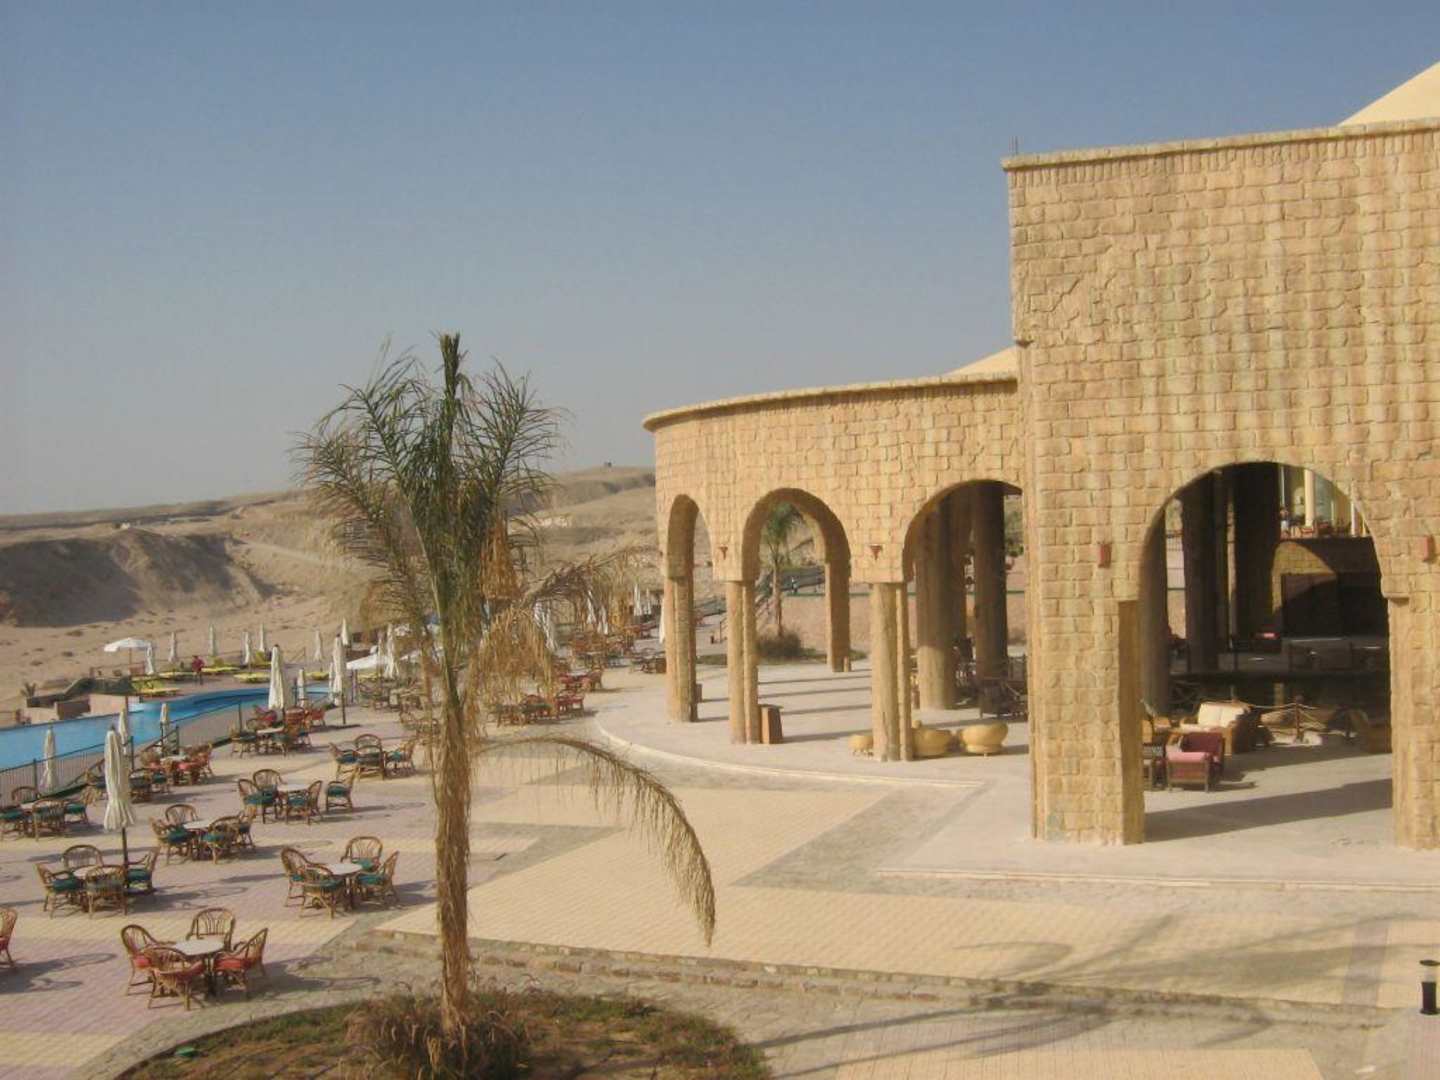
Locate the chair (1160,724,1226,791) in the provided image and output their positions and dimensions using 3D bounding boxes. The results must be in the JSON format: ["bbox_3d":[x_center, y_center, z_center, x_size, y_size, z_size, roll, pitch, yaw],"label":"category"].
[{"bbox_3d":[7.720,3.591,26.218,0.840,0.898,1.178,-5,-11,25],"label":"chair"}]

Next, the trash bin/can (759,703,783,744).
[{"bbox_3d":[0.957,3.625,31.188,0.445,0.686,0.503,-4,8,-2],"label":"trash bin/can"}]
